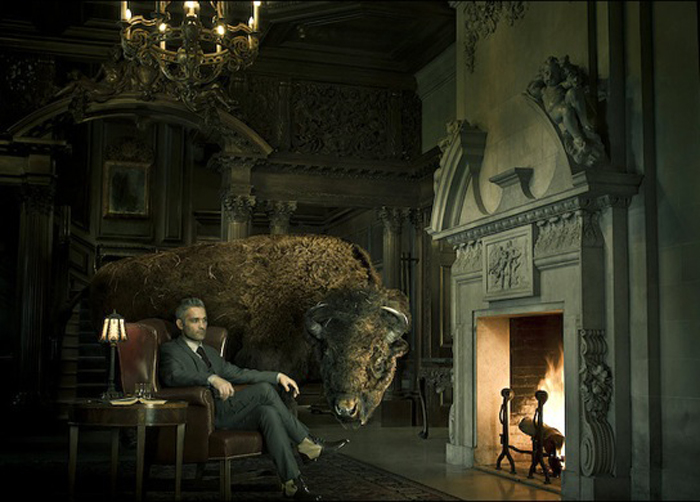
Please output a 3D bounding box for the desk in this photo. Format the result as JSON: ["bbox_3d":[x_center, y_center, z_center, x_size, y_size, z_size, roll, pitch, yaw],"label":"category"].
[{"bbox_3d":[-2.019,1.837,7.888,1.045,0.850,0.976,-4,-14,16],"label":"desk"}]

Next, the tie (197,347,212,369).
[{"bbox_3d":[-1.358,0.994,8.161,0.110,0.206,0.048,-30,-7,27],"label":"tie"}]

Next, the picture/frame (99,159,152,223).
[{"bbox_3d":[-4.304,-1.195,16.724,0.889,1.102,0.066,8,-6,-19],"label":"picture/frame"}]
